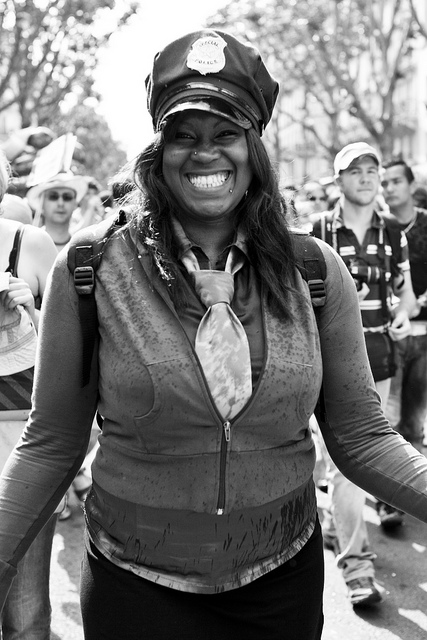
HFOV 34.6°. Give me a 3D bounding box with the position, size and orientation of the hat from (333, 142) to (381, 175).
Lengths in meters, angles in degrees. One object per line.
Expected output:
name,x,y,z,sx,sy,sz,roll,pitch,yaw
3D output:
hat,0.980,-1.115,4.670,0.317,0.251,0.327,-1,3,-8

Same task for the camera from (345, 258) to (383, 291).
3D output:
camera,0.929,-0.287,4.187,0.232,0.303,0.123,-4,2,-39

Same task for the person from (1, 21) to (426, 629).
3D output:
person,-0.013,0.016,1.434,0.844,1.289,0.434,-1,3,-15

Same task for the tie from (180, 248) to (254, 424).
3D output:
tie,0.015,0.047,1.385,0.120,0.296,0.183,-1,3,-3

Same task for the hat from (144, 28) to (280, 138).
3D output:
hat,0.002,-0.522,1.596,0.286,0.193,0.320,4,0,17
